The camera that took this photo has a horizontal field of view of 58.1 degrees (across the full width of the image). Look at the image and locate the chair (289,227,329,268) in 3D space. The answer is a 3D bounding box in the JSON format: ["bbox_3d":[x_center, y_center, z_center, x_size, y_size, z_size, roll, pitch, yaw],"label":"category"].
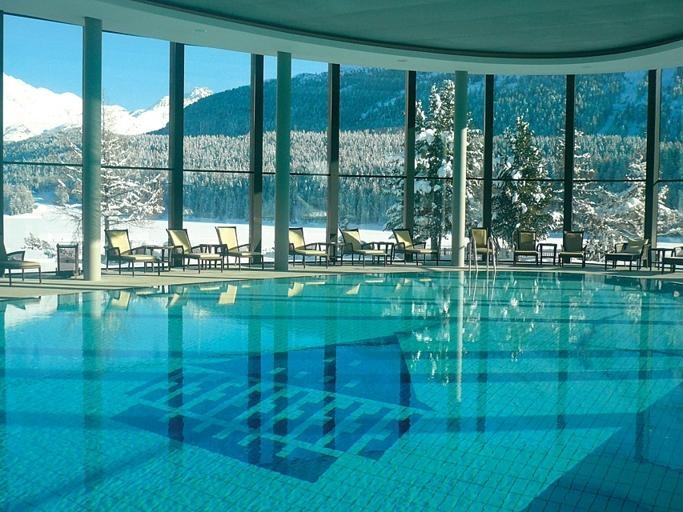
[{"bbox_3d":[-0.923,-0.218,15.239,0.730,0.948,1.242,-2,2,-36],"label":"chair"}]

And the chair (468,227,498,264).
[{"bbox_3d":[3.726,-0.242,16.507,0.593,0.974,0.674,0,8,20],"label":"chair"}]

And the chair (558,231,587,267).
[{"bbox_3d":[6.275,-0.182,16.761,0.716,0.996,0.846,1,5,9],"label":"chair"}]

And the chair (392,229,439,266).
[{"bbox_3d":[1.981,-0.270,16.366,1.126,1.025,0.800,0,0,31],"label":"chair"}]

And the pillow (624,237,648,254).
[{"bbox_3d":[7.569,-0.255,15.852,0.374,0.429,0.124,-1,-38,33],"label":"pillow"}]

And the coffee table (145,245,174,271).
[{"bbox_3d":[-4.227,-0.008,14.515,0.701,0.577,0.741,0,0,-5],"label":"coffee table"}]

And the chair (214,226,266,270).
[{"bbox_3d":[-2.492,-0.190,14.754,1.123,1.025,0.700,4,3,43],"label":"chair"}]

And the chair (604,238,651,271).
[{"bbox_3d":[7.222,-0.053,15.821,1.025,0.995,0.810,2,-2,-41],"label":"chair"}]

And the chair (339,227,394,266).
[{"bbox_3d":[0.580,-0.241,16.275,0.819,1.145,1.350,0,0,-37],"label":"chair"}]

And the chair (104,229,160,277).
[{"bbox_3d":[-4.497,-0.116,13.132,1.174,0.945,0.751,2,-1,35],"label":"chair"}]

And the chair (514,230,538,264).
[{"bbox_3d":[5.047,-0.197,16.841,0.596,0.958,0.731,0,5,31],"label":"chair"}]

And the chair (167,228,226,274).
[{"bbox_3d":[-3.361,-0.144,14.471,0.830,1.091,1.417,-3,4,-45],"label":"chair"}]
